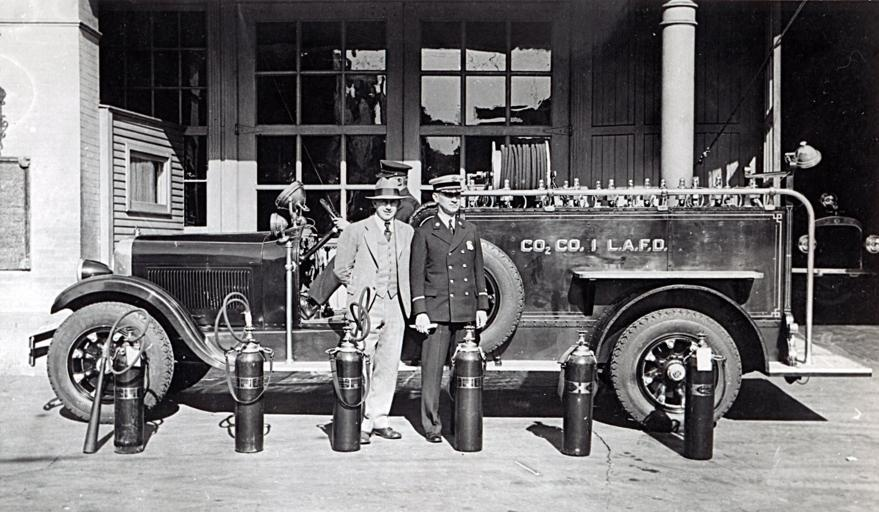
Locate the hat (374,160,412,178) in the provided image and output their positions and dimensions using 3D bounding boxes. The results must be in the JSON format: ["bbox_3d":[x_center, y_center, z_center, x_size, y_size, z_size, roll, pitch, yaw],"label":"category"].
[{"bbox_3d":[-0.668,-1.268,16.893,0.388,0.241,0.548,0,3,20],"label":"hat"}]

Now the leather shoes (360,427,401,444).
[{"bbox_3d":[-0.843,2.581,16.575,0.613,0.276,0.219,-5,-1,1],"label":"leather shoes"}]

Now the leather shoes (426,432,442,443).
[{"bbox_3d":[-0.089,2.599,16.512,0.208,0.154,0.075,-1,3,-1],"label":"leather shoes"}]

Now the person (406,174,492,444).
[{"bbox_3d":[0.113,0.762,16.585,1.070,3.809,0.441,-1,3,-2],"label":"person"}]

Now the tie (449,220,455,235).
[{"bbox_3d":[0.167,-0.415,16.579,0.051,0.199,0.053,-2,-4,17],"label":"tie"}]
